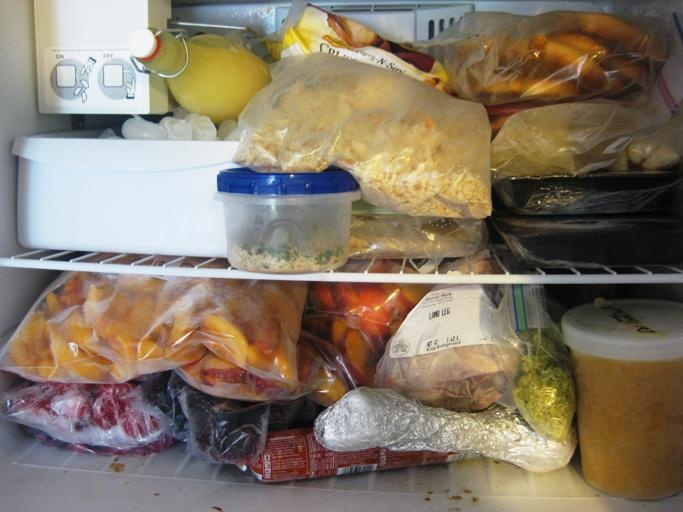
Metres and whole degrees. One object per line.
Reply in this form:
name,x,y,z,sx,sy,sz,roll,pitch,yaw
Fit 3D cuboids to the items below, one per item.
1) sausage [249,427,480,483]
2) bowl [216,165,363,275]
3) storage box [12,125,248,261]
sausage,0.050,0.420,1.265,0.592,0.132,0.129,0,38,-5
bowl,-0.093,-0.060,1.033,0.229,0.135,0.215,-1,9,0
storage box,-0.448,-0.129,1.180,0.420,0.184,0.290,2,8,5
